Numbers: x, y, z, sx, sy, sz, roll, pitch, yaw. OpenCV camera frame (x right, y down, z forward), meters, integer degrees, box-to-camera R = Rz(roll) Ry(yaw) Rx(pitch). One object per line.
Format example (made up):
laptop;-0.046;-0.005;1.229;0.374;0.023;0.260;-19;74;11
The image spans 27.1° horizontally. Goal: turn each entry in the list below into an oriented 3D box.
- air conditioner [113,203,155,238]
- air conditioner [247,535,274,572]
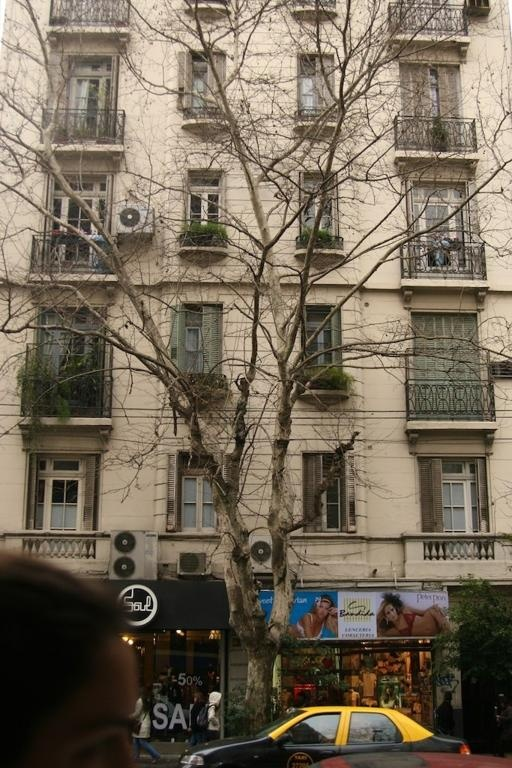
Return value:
air conditioner;-2.414;-3.250;20.979;0.767;0.936;0.942;1;-13;-7
air conditioner;0.066;3.209;20.054;0.389;0.722;0.262;1;-14;-6
